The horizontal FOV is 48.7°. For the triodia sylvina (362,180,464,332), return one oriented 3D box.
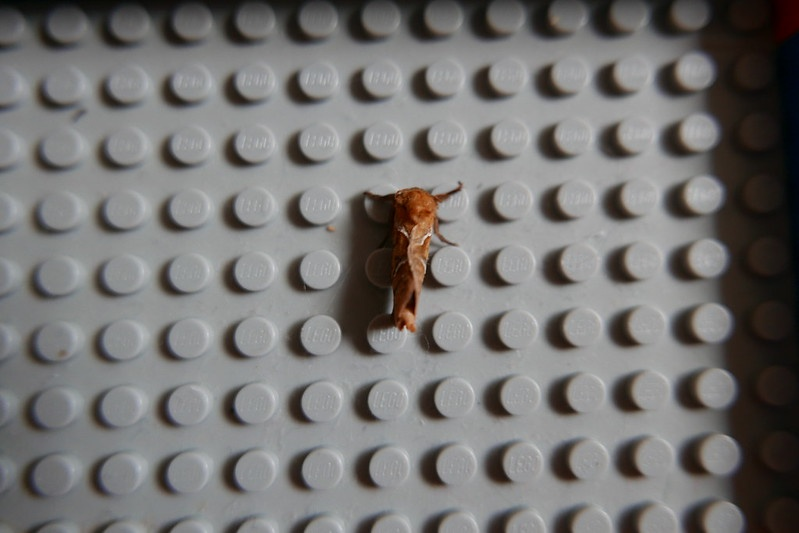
[{"bbox_3d":[0.037,-0.013,2.121,0.185,0.336,0.090,2,-6,3],"label":"triodia sylvina"}]
